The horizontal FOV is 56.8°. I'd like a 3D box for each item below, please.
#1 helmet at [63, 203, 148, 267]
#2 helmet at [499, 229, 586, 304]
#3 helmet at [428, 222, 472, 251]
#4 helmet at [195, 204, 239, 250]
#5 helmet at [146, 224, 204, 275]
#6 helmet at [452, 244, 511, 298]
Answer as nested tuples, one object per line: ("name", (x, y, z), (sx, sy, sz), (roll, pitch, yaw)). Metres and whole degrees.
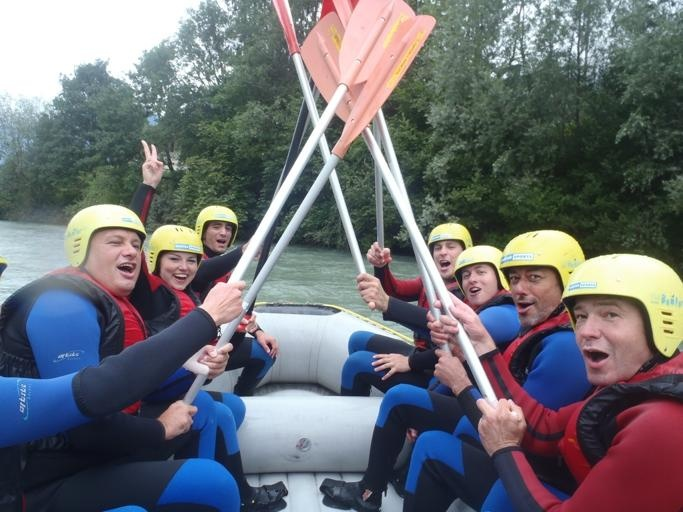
("helmet", (-1.443, -0.129, 3.874), (0.421, 0.344, 0.333), (9, -6, -4))
("helmet", (1.221, 0.057, 3.904), (0.442, 0.360, 0.327), (4, -10, -24))
("helmet", (1.005, -0.199, 5.770), (0.241, 0.250, 0.315), (0, 9, 22))
("helmet", (-1.309, -0.318, 6.634), (0.330, 0.369, 0.451), (7, 1, -27))
("helmet", (-1.314, -0.045, 5.037), (0.417, 0.346, 0.324), (16, 10, 31))
("helmet", (1.106, 0.093, 4.906), (0.281, 0.312, 0.386), (-27, -11, 34))
